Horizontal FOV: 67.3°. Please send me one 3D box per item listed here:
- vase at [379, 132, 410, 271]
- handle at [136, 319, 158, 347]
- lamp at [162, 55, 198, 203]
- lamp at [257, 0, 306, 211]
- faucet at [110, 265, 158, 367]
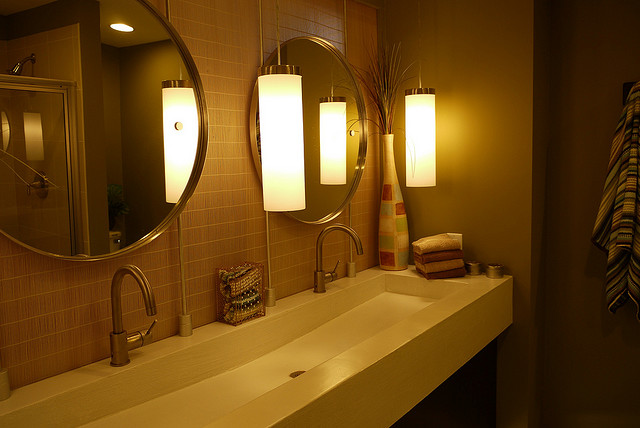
[{"bbox_3d":[0.413,-0.067,2.698,0.166,0.751,0.193,1,10,10],"label":"vase"},{"bbox_3d":[-0.651,0.459,1.844,0.059,0.084,0.102,-2,1,-43],"label":"handle"},{"bbox_3d":[-0.557,-0.329,1.891,0.045,0.547,0.165,6,12,39],"label":"lamp"},{"bbox_3d":[-0.159,-0.306,1.996,0.180,0.595,0.139,-3,10,-8],"label":"lamp"},{"bbox_3d":[-0.681,0.351,1.737,0.169,0.357,0.234,-5,10,-20],"label":"faucet"}]
